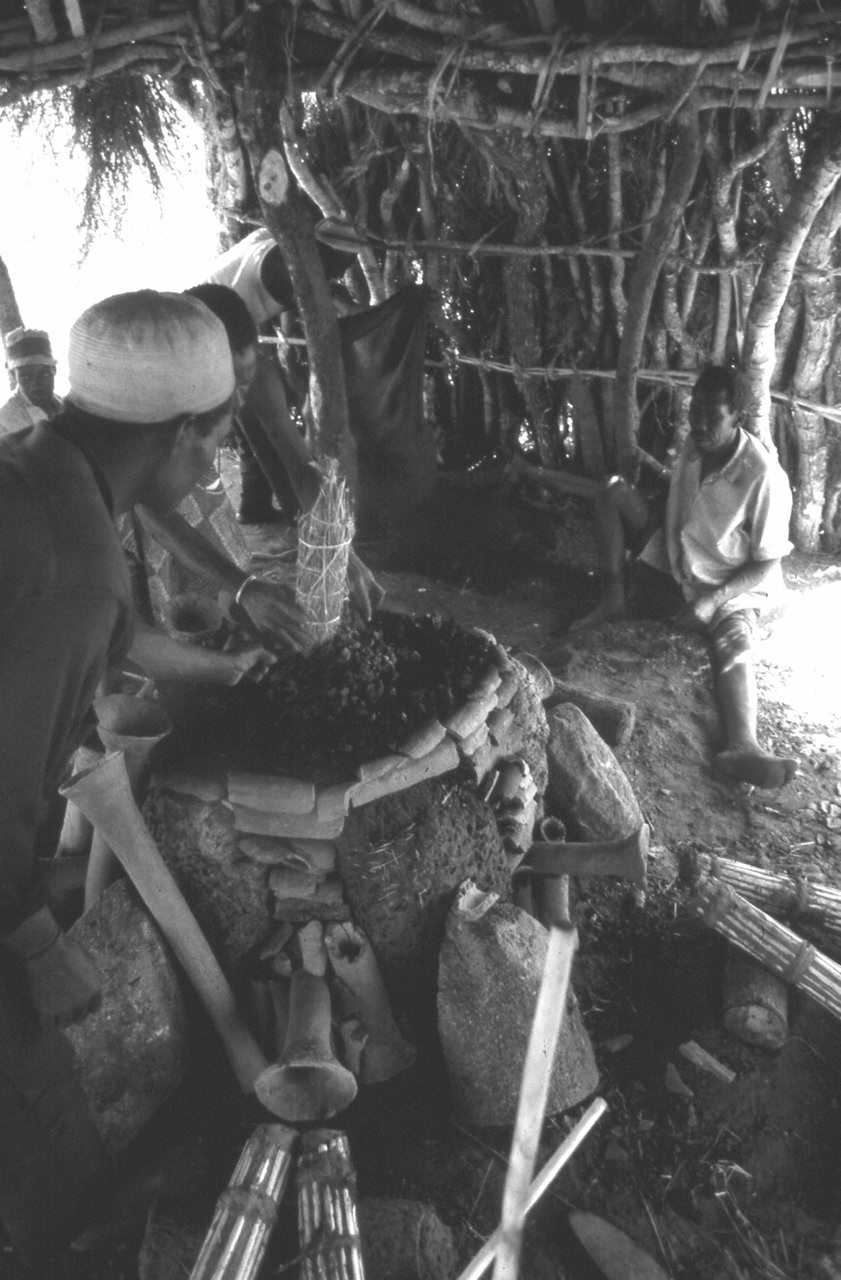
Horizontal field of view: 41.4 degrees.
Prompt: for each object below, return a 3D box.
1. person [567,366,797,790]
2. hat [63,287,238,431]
[{"bbox_3d":[1.216,-0.394,4.574,0.629,1.403,1.485,-4,20,-21],"label":"person"},{"bbox_3d":[-0.561,-0.609,2.306,0.298,0.246,0.345,4,26,-11],"label":"hat"}]
